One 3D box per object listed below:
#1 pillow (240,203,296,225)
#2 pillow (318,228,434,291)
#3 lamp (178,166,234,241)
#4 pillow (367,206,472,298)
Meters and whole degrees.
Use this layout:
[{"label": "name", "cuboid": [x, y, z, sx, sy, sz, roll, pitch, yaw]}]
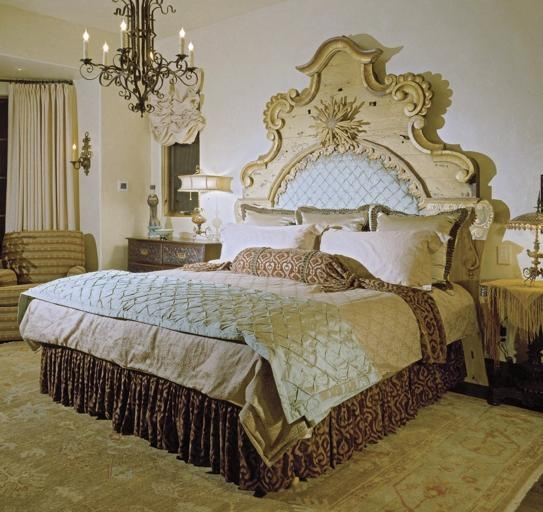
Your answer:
[{"label": "pillow", "cuboid": [0.009, -0.354, 4.558, 0.266, 0.144, 0.322, 1, -2, 25]}, {"label": "pillow", "cuboid": [0.727, 0.008, 3.567, 0.863, 0.419, 0.294, 2, -4, 29]}, {"label": "lamp", "cuboid": [-0.740, -0.535, 5.231, 0.487, 0.671, 0.526, 2, 2, 8]}, {"label": "pillow", "cuboid": [1.214, -0.008, 3.679, 0.556, 0.583, 0.181, 2, -20, 35]}]
